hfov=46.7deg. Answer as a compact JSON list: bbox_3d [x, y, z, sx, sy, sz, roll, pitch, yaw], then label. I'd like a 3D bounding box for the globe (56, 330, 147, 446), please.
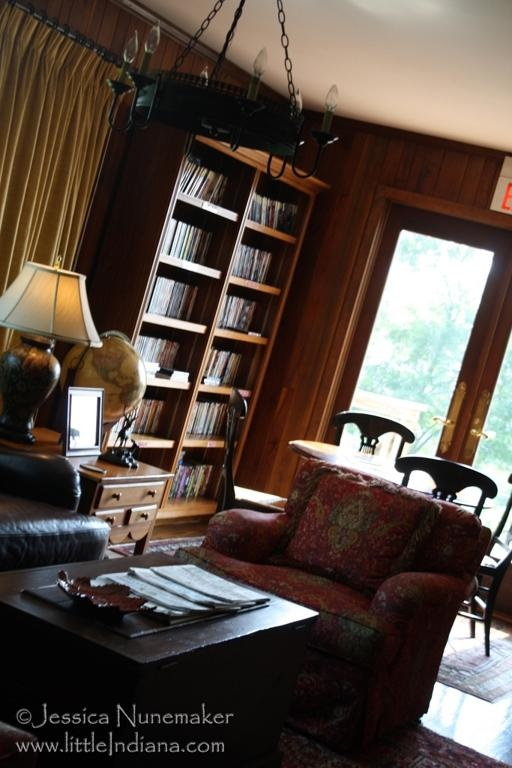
[{"bbox_3d":[-0.738,0.028,2.908,0.364,0.612,0.455,17,16,35],"label":"globe"}]
